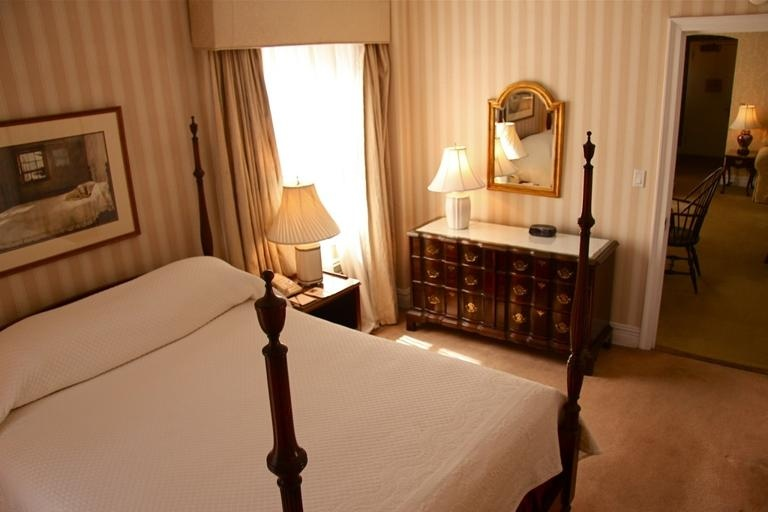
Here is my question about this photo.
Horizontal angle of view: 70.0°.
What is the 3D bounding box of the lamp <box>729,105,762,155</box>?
[{"bbox_3d":[5.207,-1.823,7.936,0.383,0.696,0.422,11,23,31],"label":"lamp"}]
